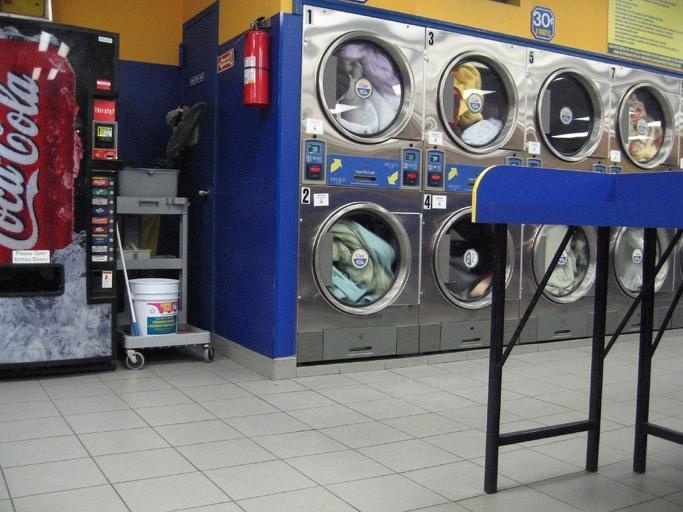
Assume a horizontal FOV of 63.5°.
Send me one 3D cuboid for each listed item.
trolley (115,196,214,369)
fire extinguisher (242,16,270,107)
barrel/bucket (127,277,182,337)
[{"bbox_3d":[-1.488,0.161,4.457,0.690,1.309,0.978,0,-1,-36],"label":"trolley"},{"bbox_3d":[-0.602,-1.358,3.950,0.180,0.544,0.109,1,4,-7],"label":"fire extinguisher"},{"bbox_3d":[-1.451,0.395,4.281,0.364,0.419,0.163,-1,4,-23],"label":"barrel/bucket"}]
